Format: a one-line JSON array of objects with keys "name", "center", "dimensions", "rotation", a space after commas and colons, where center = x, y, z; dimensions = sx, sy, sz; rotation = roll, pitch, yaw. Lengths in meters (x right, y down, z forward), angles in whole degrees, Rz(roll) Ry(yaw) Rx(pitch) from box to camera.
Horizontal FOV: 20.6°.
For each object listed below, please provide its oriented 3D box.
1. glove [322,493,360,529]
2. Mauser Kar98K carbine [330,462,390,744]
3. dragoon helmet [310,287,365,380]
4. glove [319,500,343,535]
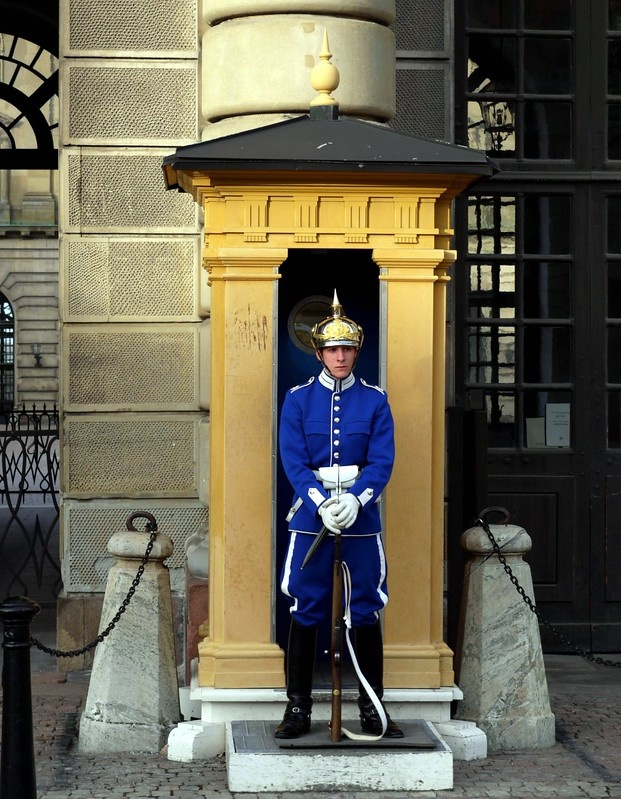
[{"name": "glove", "center": [0.115, 0.458, 6.961], "dimensions": [0.112, 0.070, 0.162], "rotation": [-2, 36, -7]}, {"name": "Mauser Kar98K carbine", "center": [0.201, 0.842, 6.989], "dimensions": [0.246, 1.064, 0.207], "rotation": [1, -9, -6]}, {"name": "dragoon helmet", "center": [0.127, -0.280, 7.234], "dimensions": [0.201, 0.380, 0.241], "rotation": [-7, -8, 21]}, {"name": "glove", "center": [0.081, 0.482, 6.968], "dimensions": [0.037, 0.132, 0.093], "rotation": [-13, -21, 31]}]
